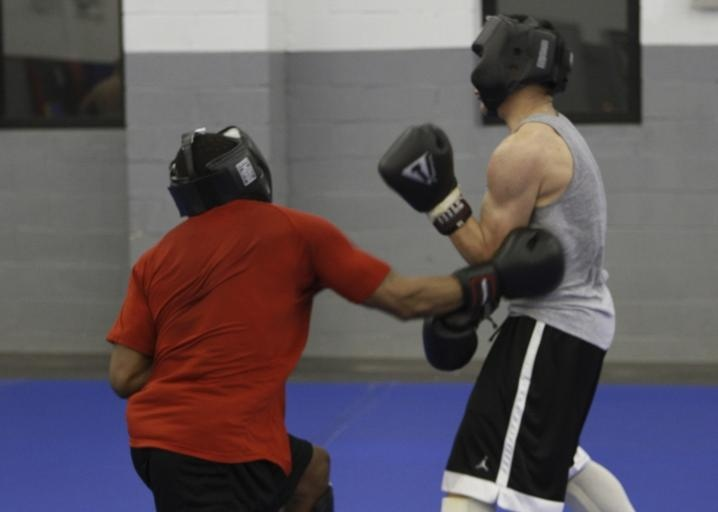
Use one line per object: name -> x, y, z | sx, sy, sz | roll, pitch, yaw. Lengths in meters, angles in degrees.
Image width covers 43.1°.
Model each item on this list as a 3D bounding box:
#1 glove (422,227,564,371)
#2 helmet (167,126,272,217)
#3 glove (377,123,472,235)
glove -> 0.543, 0.140, 3.862 | 0.639, 0.393, 0.261 | -38, 6, 8
helmet -> -0.587, -0.372, 3.747 | 0.378, 0.390, 0.304 | -27, 21, -15
glove -> 0.284, -0.311, 3.943 | 0.343, 0.467, 0.199 | -43, 5, -10
